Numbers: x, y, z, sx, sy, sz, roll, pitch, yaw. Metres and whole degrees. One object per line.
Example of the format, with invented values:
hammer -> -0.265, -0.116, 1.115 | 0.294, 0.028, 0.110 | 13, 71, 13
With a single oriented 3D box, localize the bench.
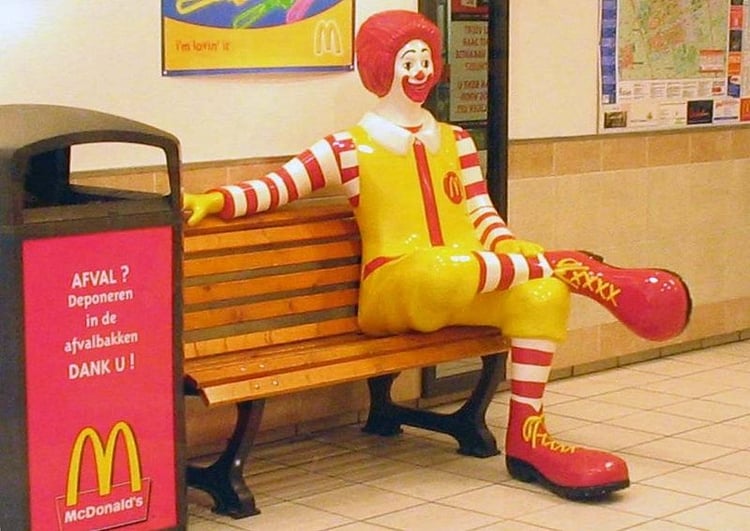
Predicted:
bench -> -0.249, 0.394, 3.333 | 0.880, 0.982, 1.784 | -4, -1, 44
